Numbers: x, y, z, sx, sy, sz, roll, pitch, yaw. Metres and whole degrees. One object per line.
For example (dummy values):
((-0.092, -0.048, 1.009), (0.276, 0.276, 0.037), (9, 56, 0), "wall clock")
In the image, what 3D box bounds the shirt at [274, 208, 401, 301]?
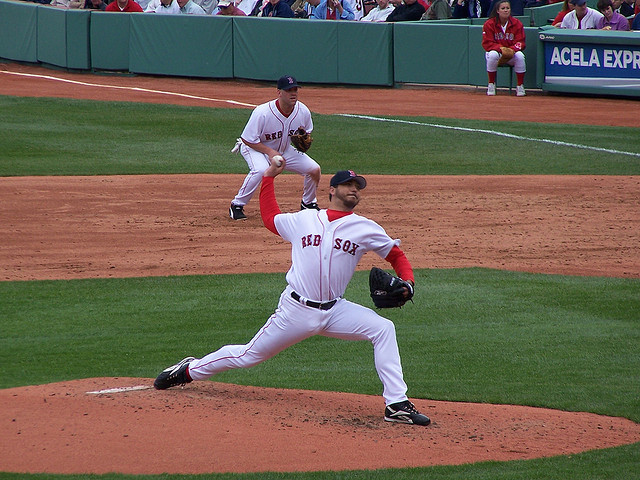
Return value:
((0.119, 0.174, 11.786), (1.194, 0.915, 0.400), (1, 9, -3), "shirt")

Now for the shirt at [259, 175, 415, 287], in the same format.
((0.247, -0.209, 11.826), (2.282, 0.983, 0.568), (12, -3, 19), "shirt")

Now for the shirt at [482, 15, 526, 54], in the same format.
((3.899, -4.317, 23.207), (0.892, 0.795, 0.505), (3, 9, 8), "shirt")

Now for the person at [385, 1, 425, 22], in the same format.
((2.016, -5.397, 25.981), (0.779, 0.478, 0.621), (5, 9, 22), "person")

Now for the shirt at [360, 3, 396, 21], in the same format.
((1.502, -5.755, 27.735), (0.629, 0.305, 0.778), (-4, 4, 26), "shirt")

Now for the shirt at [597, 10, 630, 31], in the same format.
((6.272, -4.643, 23.346), (0.669, 0.398, 0.366), (3, 9, 13), "shirt")

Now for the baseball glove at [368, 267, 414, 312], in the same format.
((0.715, 0.529, 11.743), (0.483, 0.353, 0.215), (49, 17, 26), "baseball glove")

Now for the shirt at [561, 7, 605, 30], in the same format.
((5.671, -4.749, 23.694), (0.927, 0.439, 0.623), (5, 9, 22), "shirt")

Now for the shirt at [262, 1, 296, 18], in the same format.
((-0.990, -5.378, 25.758), (0.649, 0.426, 1.469), (1, 8, -4), "shirt")

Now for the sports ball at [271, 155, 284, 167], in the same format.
((-0.472, -0.879, 11.977), (0.086, 0.103, 0.146), (-14, 28, -7), "sports ball")

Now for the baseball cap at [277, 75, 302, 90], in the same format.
((-0.517, -2.261, 15.873), (0.291, 0.216, 0.411), (-9, 8, -40), "baseball cap")

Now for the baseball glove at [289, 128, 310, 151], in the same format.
((-0.298, -1.461, 15.911), (0.167, 0.269, 0.261), (-44, 13, -7), "baseball glove")

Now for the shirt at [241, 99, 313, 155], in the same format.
((-0.622, -1.680, 16.397), (1.294, 0.904, 0.673), (-13, 43, -39), "shirt")

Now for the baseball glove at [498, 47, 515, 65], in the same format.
((3.911, -3.857, 23.108), (0.296, 0.343, 0.439), (-2, 9, -22), "baseball glove")
